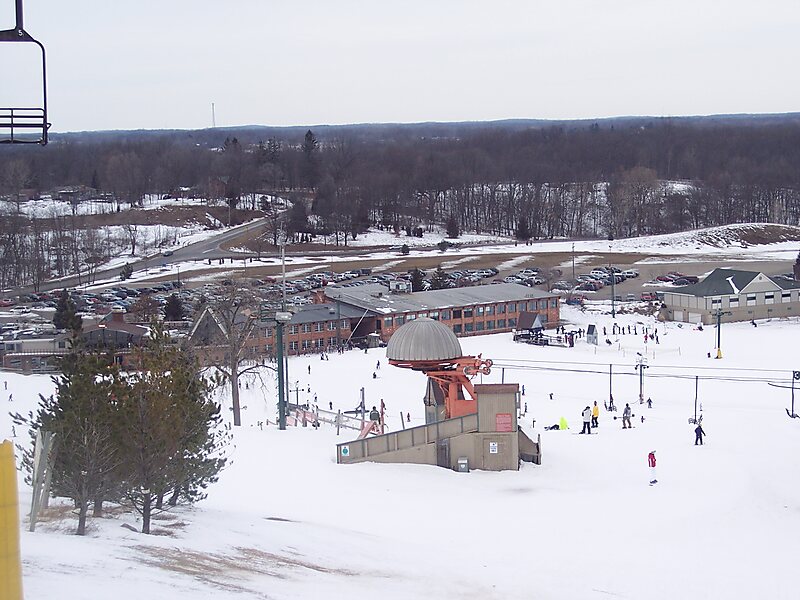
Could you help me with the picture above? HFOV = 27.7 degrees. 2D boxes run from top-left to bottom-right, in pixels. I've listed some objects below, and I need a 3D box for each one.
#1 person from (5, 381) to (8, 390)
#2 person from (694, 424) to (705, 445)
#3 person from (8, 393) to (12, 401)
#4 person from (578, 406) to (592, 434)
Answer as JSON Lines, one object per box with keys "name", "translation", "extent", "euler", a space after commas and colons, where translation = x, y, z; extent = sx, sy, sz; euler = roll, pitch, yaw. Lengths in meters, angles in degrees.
{"name": "person", "translation": [-16.204, 3.513, 66.649], "extent": [0.158, 0.321, 1.194], "euler": [1, -3, -14]}
{"name": "person", "translation": [11.126, 4.919, 59.853], "extent": [0.341, 0.788, 1.331], "euler": [0, -3, 11]}
{"name": "person", "translation": [-15.453, 3.865, 64.309], "extent": [0.156, 0.274, 0.841], "euler": [1, -3, -13]}
{"name": "person", "translation": [7.151, 4.560, 61.907], "extent": [0.428, 1.048, 1.475], "euler": [0, -3, 6]}
